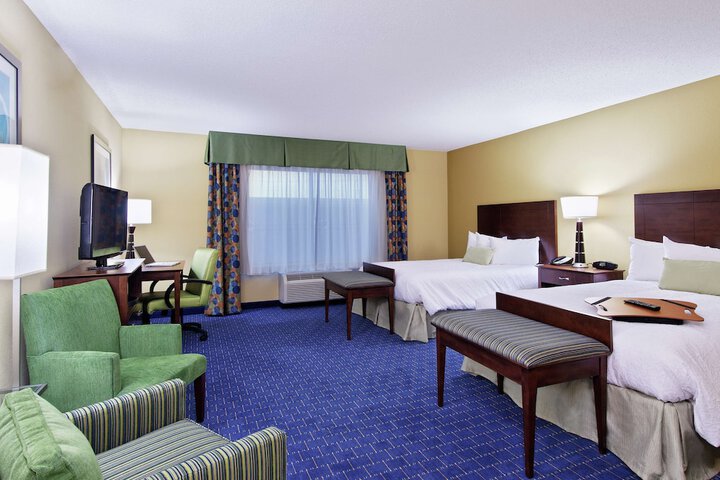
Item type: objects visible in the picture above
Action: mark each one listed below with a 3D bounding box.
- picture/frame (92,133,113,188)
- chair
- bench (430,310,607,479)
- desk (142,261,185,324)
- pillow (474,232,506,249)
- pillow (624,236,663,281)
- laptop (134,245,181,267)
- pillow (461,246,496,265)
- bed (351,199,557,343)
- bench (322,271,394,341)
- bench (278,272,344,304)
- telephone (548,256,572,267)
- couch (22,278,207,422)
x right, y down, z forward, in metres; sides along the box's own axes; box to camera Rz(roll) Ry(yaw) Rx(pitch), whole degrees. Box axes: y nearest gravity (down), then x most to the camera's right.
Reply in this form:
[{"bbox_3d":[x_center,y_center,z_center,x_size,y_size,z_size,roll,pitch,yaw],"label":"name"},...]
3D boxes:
[{"bbox_3d":[-2.973,-0.899,5.462,0.126,0.609,0.904,-6,13,-20],"label":"picture/frame"},{"bbox_3d":[-2.237,0.645,5.821,0.825,1.042,0.896,3,2,39],"label":"chair"},{"bbox_3d":[1.227,0.825,3.856,0.942,1.033,1.567,0,0,-18],"label":"bench"},{"bbox_3d":[-2.353,0.613,5.509,0.523,0.649,0.891,-4,5,-23],"label":"desk"},{"bbox_3d":[1.896,0.020,7.042,0.260,0.254,0.079,-5,-33,18],"label":"pillow"},{"bbox_3d":[3.004,0.202,5.136,0.425,0.405,0.127,3,6,-31],"label":"pillow"},{"bbox_3d":[-2.697,0.221,6.214,0.402,0.277,0.452,-1,2,-18],"label":"laptop"},{"bbox_3d":[1.652,0.200,6.579,0.120,0.235,0.377,25,-10,-12],"label":"pillow"},{"bbox_3d":[1.420,0.369,6.470,2.045,1.385,2.073,-3,3,-22],"label":"bed"},{"bbox_3d":[-0.045,0.788,6.241,0.709,0.693,1.079,-2,4,-16],"label":"bench"},{"bbox_3d":[-0.910,0.739,7.593,0.434,0.482,0.994,6,4,44],"label":"bench"},{"bbox_3d":[2.584,0.270,6.114,0.165,0.073,0.180,-2,0,-3],"label":"telephone"},{"bbox_3d":[-1.841,0.760,3.933,1.053,1.359,0.979,-1,0,10],"label":"couch"}]
